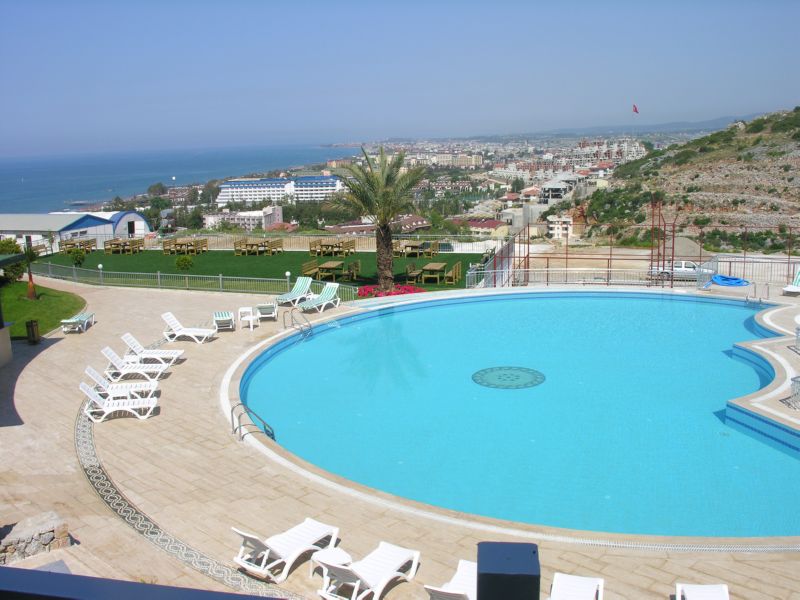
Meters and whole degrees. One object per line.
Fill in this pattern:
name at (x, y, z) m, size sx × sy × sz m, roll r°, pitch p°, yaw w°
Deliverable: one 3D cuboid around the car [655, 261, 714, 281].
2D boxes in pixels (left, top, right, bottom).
car at (12.224, -1.214, 25.327) m, size 2.653 × 0.845 × 1.204 m, roll -1°, pitch 9°, yaw 7°
